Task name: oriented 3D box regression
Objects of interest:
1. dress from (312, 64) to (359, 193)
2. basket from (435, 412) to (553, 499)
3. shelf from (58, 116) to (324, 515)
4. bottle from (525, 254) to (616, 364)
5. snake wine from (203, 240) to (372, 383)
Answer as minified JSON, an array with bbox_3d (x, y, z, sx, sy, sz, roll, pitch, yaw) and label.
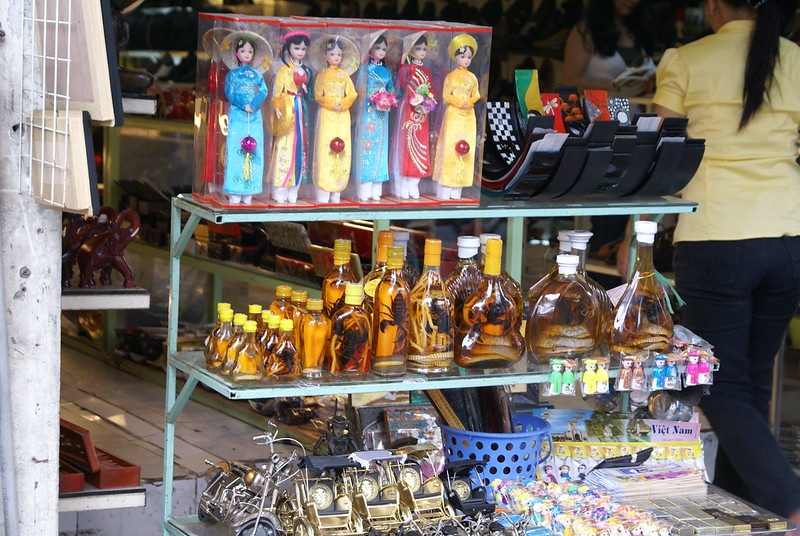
[{"bbox_3d":[-0.237,-0.478,4.462,0.148,0.435,0.094,0,4,-4],"label":"dress"},{"bbox_3d":[0.364,0.703,4.819,0.323,0.207,0.301,1,-4,-4],"label":"basket"},{"bbox_3d":[-0.878,0.219,5.368,1.056,1.820,1.849,2,0,-23],"label":"shelf"},{"bbox_3d":[0.672,0.170,4.922,0.416,0.519,0.207,0,4,-18],"label":"bottle"},{"bbox_3d":[-0.433,0.161,5.032,0.575,0.519,0.209,2,8,-9],"label":"snake wine"}]
